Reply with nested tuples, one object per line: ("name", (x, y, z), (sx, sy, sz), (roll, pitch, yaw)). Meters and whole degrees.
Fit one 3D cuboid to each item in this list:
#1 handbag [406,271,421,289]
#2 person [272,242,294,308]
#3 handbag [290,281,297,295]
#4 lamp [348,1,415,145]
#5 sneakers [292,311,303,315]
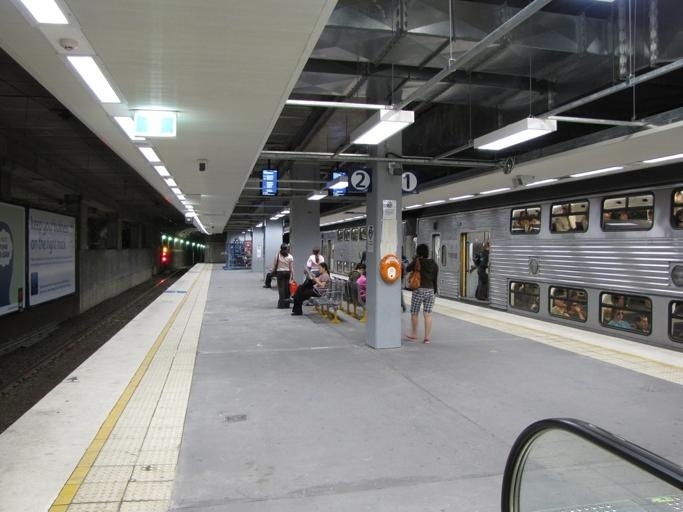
("handbag", (1.415, 0.492, 9.219), (0.236, 0.414, 0.399), (3, 4, 38))
("person", (-1.839, 0.631, 14.166), (0.554, 2.016, 0.568), (4, -11, -32))
("handbag", (-1.546, 1.011, 14.290), (0.399, 0.407, 0.183), (3, -7, -36))
("lamp", (0.618, -2.745, 7.215), (0.821, 1.889, 2.456), (0, 3, 5))
("sneakers", (-1.271, 1.631, 12.969), (0.270, 0.196, 0.092), (0, -1, -9))
